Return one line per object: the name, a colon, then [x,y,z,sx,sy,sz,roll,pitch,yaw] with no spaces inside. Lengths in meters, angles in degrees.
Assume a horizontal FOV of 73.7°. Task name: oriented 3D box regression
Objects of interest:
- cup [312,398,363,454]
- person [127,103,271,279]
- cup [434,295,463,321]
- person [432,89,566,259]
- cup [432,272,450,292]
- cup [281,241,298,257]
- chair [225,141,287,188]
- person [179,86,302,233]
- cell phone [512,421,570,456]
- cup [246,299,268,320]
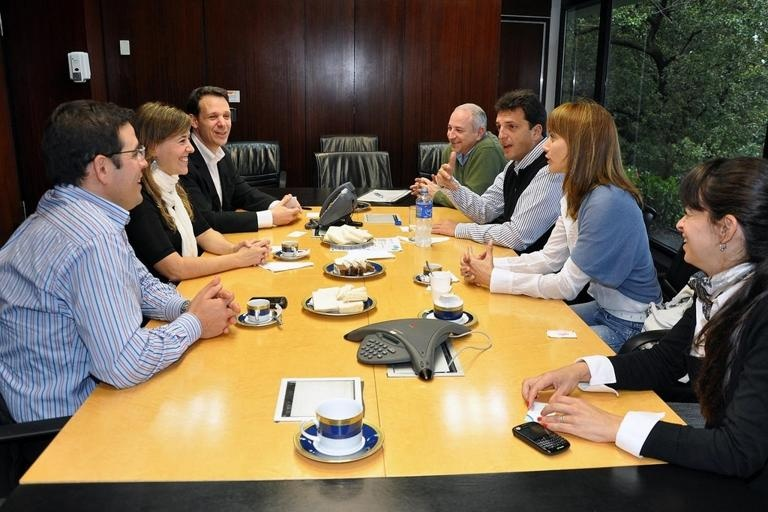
cup: [-0.131,0.478,1.456,0.156,0.123,0.115,0,20,7]
person: [-1.046,-0.350,2.818,0.786,0.894,0.502,5,19,0]
cup: [0.262,0.203,2.058,0.096,0.078,0.101,1,4,0]
person: [0.807,-0.523,3.406,0.825,1.097,0.879,8,18,30]
cup: [0.248,0.111,2.209,0.069,0.070,0.075,-1,1,0]
cup: [-0.512,-0.037,2.837,0.063,0.048,0.093,1,7,-6]
chair: [-1.210,-0.907,5.082,0.452,0.687,0.526,-3,7,-16]
person: [-1.035,-0.688,3.565,0.808,0.921,0.595,3,14,0]
cell phone: [0.458,0.515,1.496,0.069,0.025,0.116,-10,18,-26]
cup: [-0.502,0.216,2.072,0.061,0.062,0.085,0,16,-3]
